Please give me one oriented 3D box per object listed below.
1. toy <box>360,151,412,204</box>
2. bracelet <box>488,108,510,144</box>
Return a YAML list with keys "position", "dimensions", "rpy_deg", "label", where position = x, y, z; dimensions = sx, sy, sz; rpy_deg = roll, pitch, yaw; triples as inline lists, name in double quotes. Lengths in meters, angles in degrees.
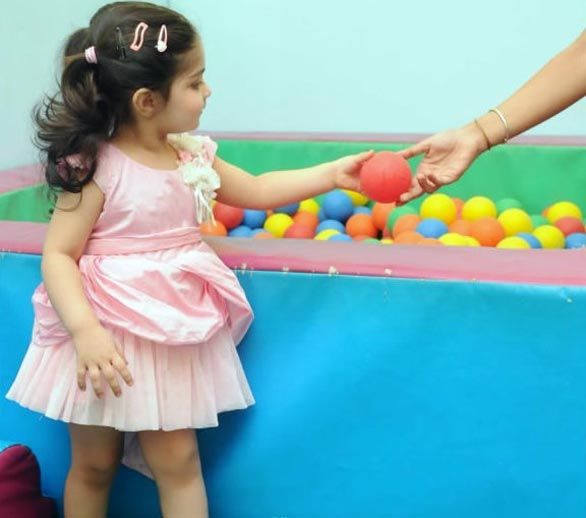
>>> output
- position: [0.182, -0.168, 1.225]
  dimensions: [0.095, 0.103, 0.095]
  rpy_deg: [-3, 12, -2]
  label: "toy"
- position: [0.436, -0.281, 1.282]
  dimensions: [0.017, 0.066, 0.066]
  rpy_deg: [-15, 11, 13]
  label: "bracelet"
